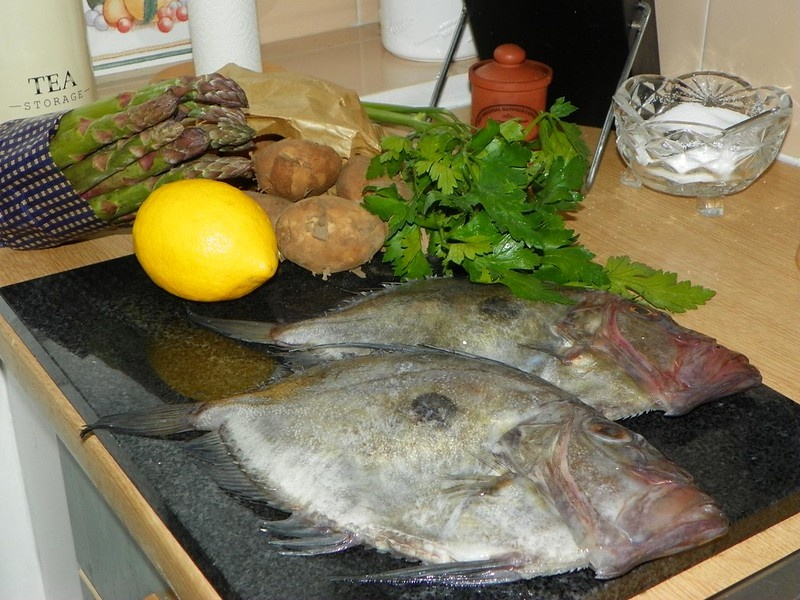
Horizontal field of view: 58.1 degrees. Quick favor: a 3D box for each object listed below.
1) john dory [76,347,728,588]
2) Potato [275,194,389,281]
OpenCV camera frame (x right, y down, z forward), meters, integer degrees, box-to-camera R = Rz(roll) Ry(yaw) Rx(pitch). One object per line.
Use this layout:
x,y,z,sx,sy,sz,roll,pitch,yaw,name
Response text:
-0.012,0.161,0.738,0.647,0.128,0.233,7,42,8,john dory
-0.090,-0.099,1.068,0.196,0.092,0.097,0,59,15,Potato
